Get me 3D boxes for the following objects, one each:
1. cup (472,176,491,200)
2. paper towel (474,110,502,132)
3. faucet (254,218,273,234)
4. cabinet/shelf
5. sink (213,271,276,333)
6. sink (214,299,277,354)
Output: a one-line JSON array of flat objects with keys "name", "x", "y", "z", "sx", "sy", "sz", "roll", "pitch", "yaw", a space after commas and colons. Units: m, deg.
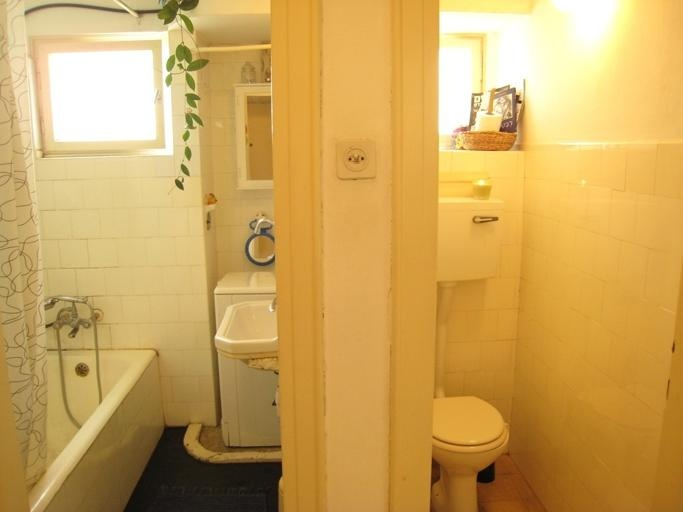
[{"name": "cup", "x": 0.682, "y": -0.321, "z": 2.791, "sx": 0.085, "sy": 0.094, "sz": 0.095, "roll": -3, "pitch": 11, "yaw": 1}, {"name": "paper towel", "x": 0.719, "y": -0.652, "z": 2.820, "sx": 0.104, "sy": 0.122, "sz": 0.103, "roll": -14, "pitch": 27, "yaw": -27}, {"name": "faucet", "x": -0.466, "y": -0.187, "z": 3.503, "sx": 0.067, "sy": 0.114, "sz": 0.098, "roll": 14, "pitch": 9, "yaw": 20}, {"name": "cabinet/shelf", "x": -0.523, "y": -0.702, "z": 3.468, "sx": 0.210, "sy": 0.583, "sz": 0.345, "roll": 0, "pitch": 12, "yaw": -17}, {"name": "sink", "x": -0.520, "y": 0.277, "z": 3.410, "sx": 0.390, "sy": 0.313, "sz": 0.395, "roll": 1, "pitch": 21, "yaw": 7}, {"name": "sink", "x": -0.455, "y": 0.362, "z": 2.865, "sx": 0.240, "sy": 0.145, "sz": 0.367, "roll": -1, "pitch": 23, "yaw": -3}]
